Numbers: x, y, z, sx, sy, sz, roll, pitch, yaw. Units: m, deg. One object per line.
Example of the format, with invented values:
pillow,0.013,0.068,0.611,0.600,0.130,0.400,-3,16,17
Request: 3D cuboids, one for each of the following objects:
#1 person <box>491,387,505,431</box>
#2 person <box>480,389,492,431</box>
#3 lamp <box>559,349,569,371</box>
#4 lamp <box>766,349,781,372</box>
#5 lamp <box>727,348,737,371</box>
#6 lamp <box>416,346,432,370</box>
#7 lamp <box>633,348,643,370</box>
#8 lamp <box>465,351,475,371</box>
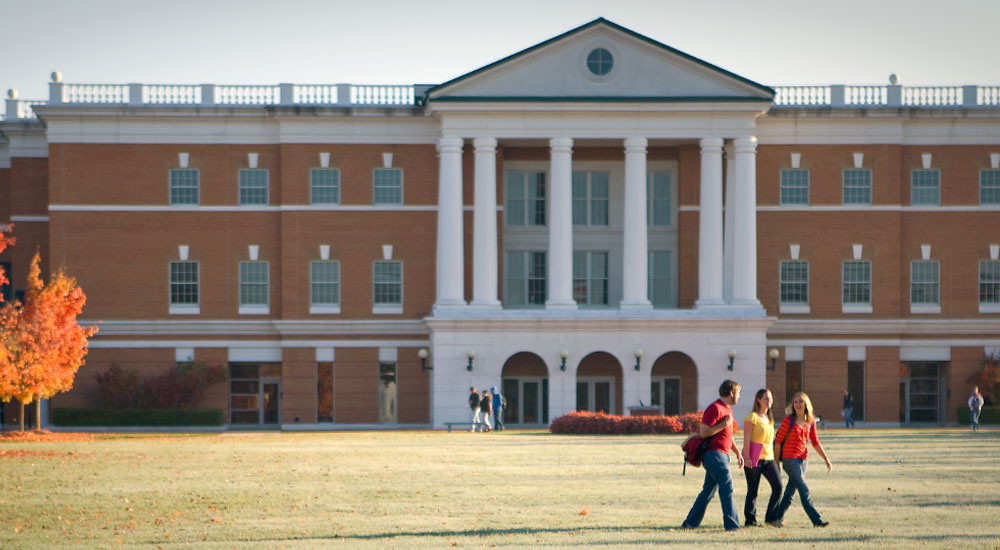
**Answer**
person,-0.318,7.625,142.464,0.614,2.588,0.983,0,-9,0
person,-0.877,7.741,142.291,0.611,2.368,1.317,0,-9,0
lamp,3.551,4.897,143.258,0.395,1.162,0.580,0,-9,0
lamp,15.856,4.855,145.483,0.742,1.357,1.652,-1,-9,6
lamp,13.192,4.866,143.176,0.515,1.213,0.651,-1,-9,3
lamp,-4.587,4.831,145.574,0.677,1.339,1.163,2,-9,-12
lamp,7.816,4.836,143.178,0.504,1.156,0.659,0,-9,0
lamp,-1.809,4.955,143.100,0.453,1.032,0.639,0,-9,0
